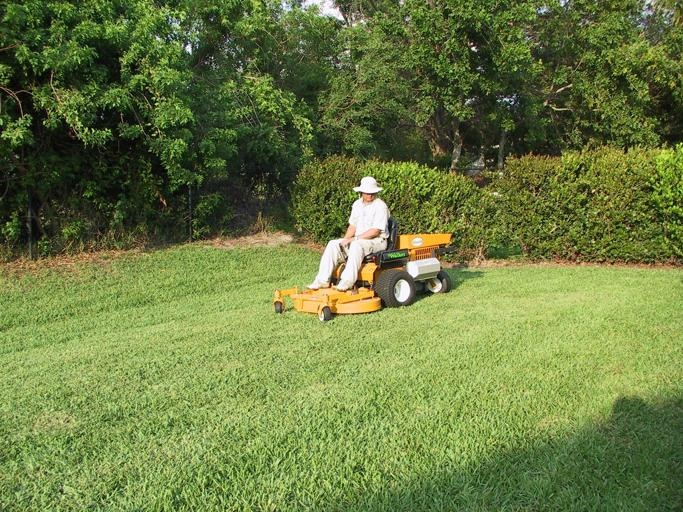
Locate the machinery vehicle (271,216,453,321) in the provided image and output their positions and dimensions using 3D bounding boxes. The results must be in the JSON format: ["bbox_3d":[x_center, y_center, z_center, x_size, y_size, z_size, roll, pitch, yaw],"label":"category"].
[{"bbox_3d":[0.562,0.031,10.612,2.843,1.614,1.496,-4,2,-36],"label":"machinery vehicle"}]

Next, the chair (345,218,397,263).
[{"bbox_3d":[0.731,-0.263,10.369,0.644,0.681,0.491,-1,1,-22],"label":"chair"}]

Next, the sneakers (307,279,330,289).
[{"bbox_3d":[-0.370,0.477,10.140,0.394,0.222,0.160,2,2,-1],"label":"sneakers"}]

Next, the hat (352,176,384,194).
[{"bbox_3d":[0.468,-1.153,10.618,0.482,0.261,0.562,-1,10,1],"label":"hat"}]

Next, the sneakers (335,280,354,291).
[{"bbox_3d":[0.051,0.478,9.900,0.338,0.167,0.121,6,-4,-44],"label":"sneakers"}]
